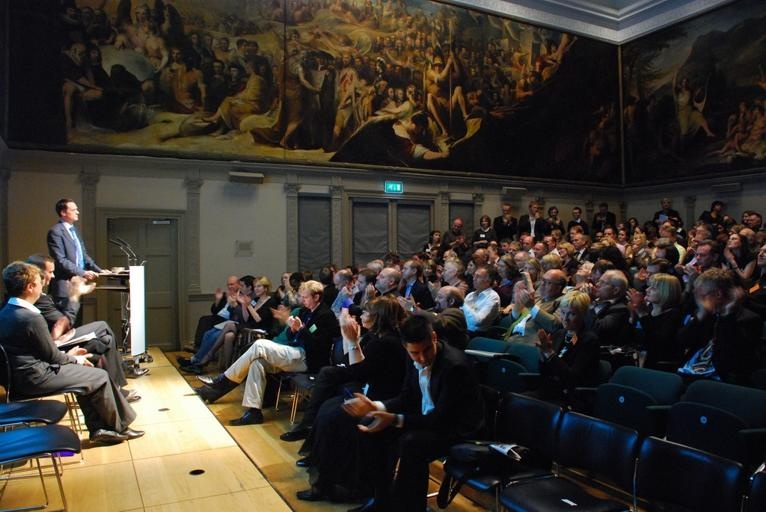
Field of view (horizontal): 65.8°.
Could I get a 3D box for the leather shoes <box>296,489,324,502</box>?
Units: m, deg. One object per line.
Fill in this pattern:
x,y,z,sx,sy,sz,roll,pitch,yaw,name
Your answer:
-0.836,2.732,6.797,0.330,0.123,0.124,6,-9,2,leather shoes

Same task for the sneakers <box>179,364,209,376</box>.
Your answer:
-3.463,2.063,10.793,0.479,0.193,0.173,6,-13,5,sneakers

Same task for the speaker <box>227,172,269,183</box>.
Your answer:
-3.169,-1.772,13.625,0.605,0.259,0.120,5,39,-12,speaker

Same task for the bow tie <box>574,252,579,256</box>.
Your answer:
3.683,-0.045,11.312,0.066,0.090,0.021,10,0,7,bow tie

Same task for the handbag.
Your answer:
1.008,2.214,6.221,0.702,0.751,0.782,0,-8,-19,handbag

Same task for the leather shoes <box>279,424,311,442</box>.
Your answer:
-1.194,2.406,8.041,0.505,0.213,0.186,3,-4,-13,leather shoes

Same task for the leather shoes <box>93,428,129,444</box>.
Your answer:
-3.606,2.381,7.844,0.417,0.181,0.161,16,13,-20,leather shoes

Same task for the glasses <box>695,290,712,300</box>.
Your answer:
3.836,0.470,7.074,0.092,0.094,0.073,15,-17,3,glasses

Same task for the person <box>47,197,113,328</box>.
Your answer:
-5.128,0.461,9.998,0.952,2.778,0.813,5,7,12,person
